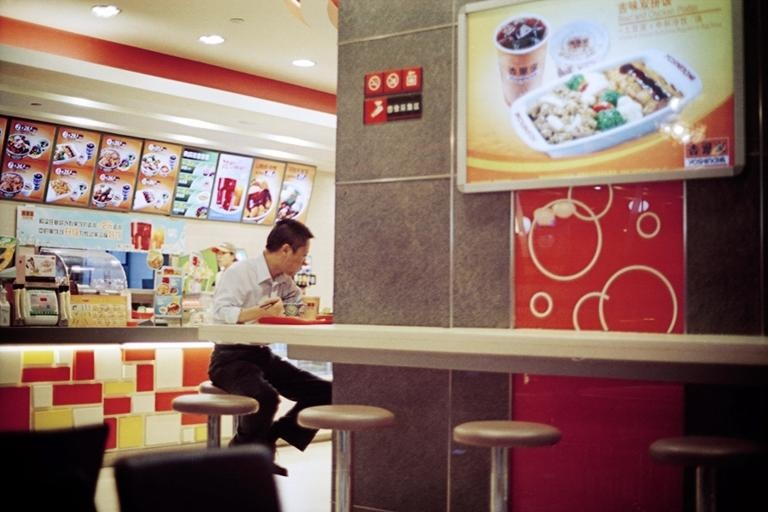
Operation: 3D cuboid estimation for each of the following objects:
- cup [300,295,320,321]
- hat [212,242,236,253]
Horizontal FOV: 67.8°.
[{"bbox_3d":[-0.444,0.305,3.393,0.094,0.133,0.296,1,-4,-7],"label":"cup"},{"bbox_3d":[-2.033,-0.097,7.138,0.240,0.083,0.152,6,-5,-19],"label":"hat"}]
